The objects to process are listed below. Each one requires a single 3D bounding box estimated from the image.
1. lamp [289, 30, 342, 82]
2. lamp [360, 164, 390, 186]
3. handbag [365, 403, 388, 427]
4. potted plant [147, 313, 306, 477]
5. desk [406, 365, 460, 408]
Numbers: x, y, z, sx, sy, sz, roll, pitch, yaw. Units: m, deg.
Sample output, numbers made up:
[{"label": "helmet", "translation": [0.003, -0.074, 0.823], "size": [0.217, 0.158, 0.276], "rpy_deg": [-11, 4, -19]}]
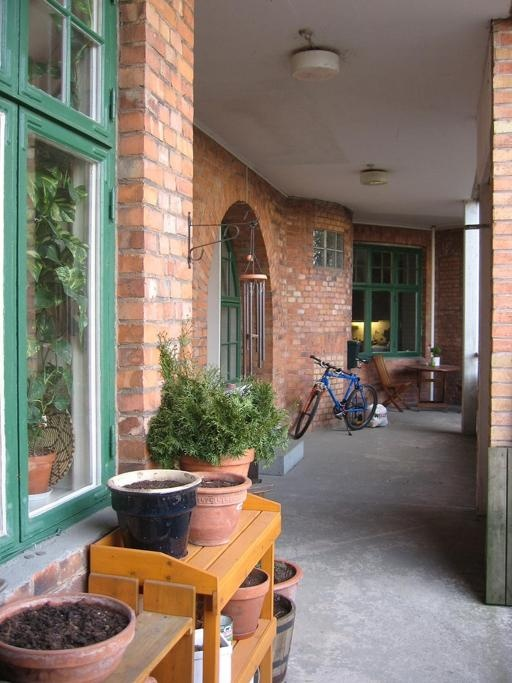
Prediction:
[{"label": "lamp", "translation": [0.332, -1.547, 3.321], "size": [0.289, 0.100, 0.462], "rpy_deg": [1, 1, 3]}, {"label": "lamp", "translation": [1.217, -1.658, 6.146], "size": [0.321, 0.108, 0.445], "rpy_deg": [1, 1, 1]}, {"label": "handbag", "translation": [1.664, 1.006, 8.201], "size": [0.243, 0.395, 0.424], "rpy_deg": [2, 1, 34]}, {"label": "potted plant", "translation": [-0.103, 0.116, 1.950], "size": [0.564, 0.504, 0.392], "rpy_deg": [0, 3, -5]}, {"label": "desk", "translation": [2.866, 0.782, 9.968], "size": [0.924, 0.691, 0.958], "rpy_deg": [3, -3, -18]}]
